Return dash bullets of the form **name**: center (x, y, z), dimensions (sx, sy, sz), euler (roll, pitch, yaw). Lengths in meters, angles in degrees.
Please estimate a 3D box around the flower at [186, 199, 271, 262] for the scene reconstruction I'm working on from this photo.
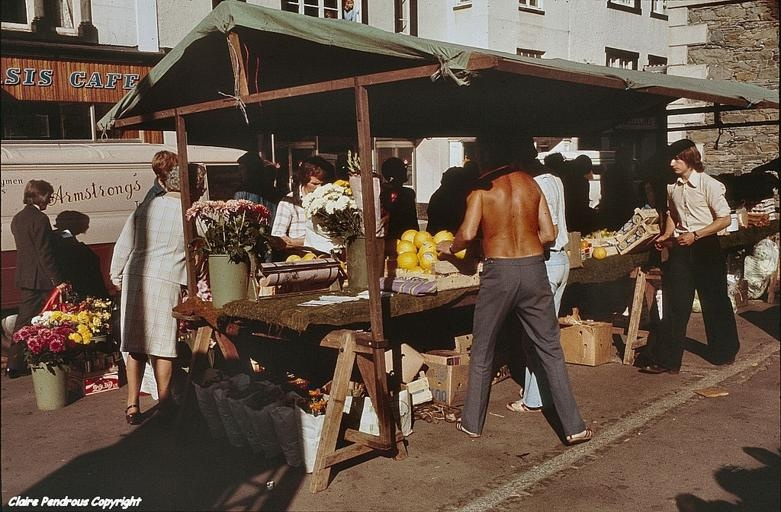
- **flower**: center (-1.852, -0.284, 7.626), dimensions (0.785, 0.720, 0.834), euler (-5, 7, 43)

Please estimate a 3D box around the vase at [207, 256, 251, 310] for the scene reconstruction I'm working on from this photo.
- **vase**: center (-1.806, 0.279, 7.388), dimensions (0.720, 0.670, 0.355), euler (1, -1, 7)

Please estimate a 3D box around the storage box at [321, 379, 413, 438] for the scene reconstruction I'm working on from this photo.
- **storage box**: center (-0.197, 1.717, 7.296), dimensions (0.768, 0.628, 0.783), euler (-6, -2, 4)

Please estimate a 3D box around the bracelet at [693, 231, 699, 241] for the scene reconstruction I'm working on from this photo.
- **bracelet**: center (3.996, -0.260, 8.788), dimensions (0.025, 0.099, 0.098), euler (-9, -13, 1)

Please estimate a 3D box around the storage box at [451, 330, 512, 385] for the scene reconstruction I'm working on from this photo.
- **storage box**: center (1.184, 1.342, 8.953), dimensions (0.748, 0.793, 0.564), euler (-4, -1, -15)

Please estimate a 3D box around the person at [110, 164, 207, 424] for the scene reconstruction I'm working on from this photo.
- **person**: center (-2.885, 0.366, 8.335), dimensions (1.091, 3.202, 0.894), euler (2, 1, -10)

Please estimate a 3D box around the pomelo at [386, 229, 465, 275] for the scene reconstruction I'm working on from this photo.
- **pomelo**: center (0.400, -0.026, 7.667), dimensions (0.783, 0.523, 0.243), euler (-2, -1, 6)

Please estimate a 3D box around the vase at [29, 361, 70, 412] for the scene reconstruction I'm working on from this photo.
- **vase**: center (-4.374, 1.668, 8.606), dimensions (0.387, 0.612, 0.209), euler (-6, 15, -15)

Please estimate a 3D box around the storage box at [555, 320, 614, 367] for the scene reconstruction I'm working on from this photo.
- **storage box**: center (2.852, 1.139, 9.811), dimensions (0.715, 0.710, 0.721), euler (-6, 6, -39)

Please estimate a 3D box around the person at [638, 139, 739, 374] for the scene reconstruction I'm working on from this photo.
- **person**: center (4.087, 0.030, 9.082), dimensions (1.172, 3.161, 0.816), euler (1, 14, 11)

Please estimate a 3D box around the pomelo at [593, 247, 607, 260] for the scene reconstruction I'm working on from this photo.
- **pomelo**: center (2.847, -0.044, 9.097), dimensions (0.159, 0.159, 0.158), euler (-23, 9, -38)

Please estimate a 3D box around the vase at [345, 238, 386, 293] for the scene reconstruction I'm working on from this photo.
- **vase**: center (-0.335, 0.096, 7.554), dimensions (0.495, 0.592, 0.535), euler (-1, 4, -5)
